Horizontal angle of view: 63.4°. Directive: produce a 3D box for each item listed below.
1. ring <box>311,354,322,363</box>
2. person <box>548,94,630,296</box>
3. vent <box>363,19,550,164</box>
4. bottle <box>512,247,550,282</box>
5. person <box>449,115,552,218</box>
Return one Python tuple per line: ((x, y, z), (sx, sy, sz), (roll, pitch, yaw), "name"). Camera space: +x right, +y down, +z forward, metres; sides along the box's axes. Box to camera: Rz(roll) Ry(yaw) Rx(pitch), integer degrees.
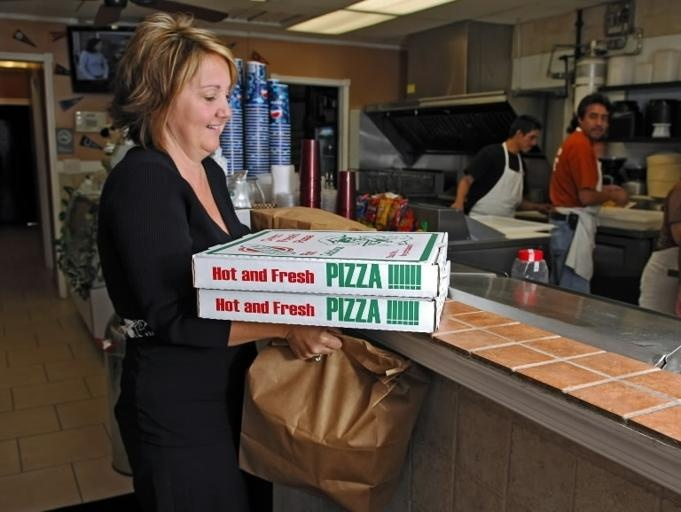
((-0.055, 0.251, 1.333), (0.022, 0.005, 0.020), (-6, 12, 1), "ring")
((1.751, -0.432, 3.961), (0.487, 1.438, 0.686), (10, 17, 33), "person")
((1.172, -1.702, 6.201), (0.945, 1.435, 2.332), (-7, 13, -26), "vent")
((0.690, 0.049, 2.000), (0.132, 0.120, 0.125), (4, 20, 25), "bottle")
((1.283, -0.730, 4.585), (0.693, 0.824, 0.372), (0, 14, -3), "person")
